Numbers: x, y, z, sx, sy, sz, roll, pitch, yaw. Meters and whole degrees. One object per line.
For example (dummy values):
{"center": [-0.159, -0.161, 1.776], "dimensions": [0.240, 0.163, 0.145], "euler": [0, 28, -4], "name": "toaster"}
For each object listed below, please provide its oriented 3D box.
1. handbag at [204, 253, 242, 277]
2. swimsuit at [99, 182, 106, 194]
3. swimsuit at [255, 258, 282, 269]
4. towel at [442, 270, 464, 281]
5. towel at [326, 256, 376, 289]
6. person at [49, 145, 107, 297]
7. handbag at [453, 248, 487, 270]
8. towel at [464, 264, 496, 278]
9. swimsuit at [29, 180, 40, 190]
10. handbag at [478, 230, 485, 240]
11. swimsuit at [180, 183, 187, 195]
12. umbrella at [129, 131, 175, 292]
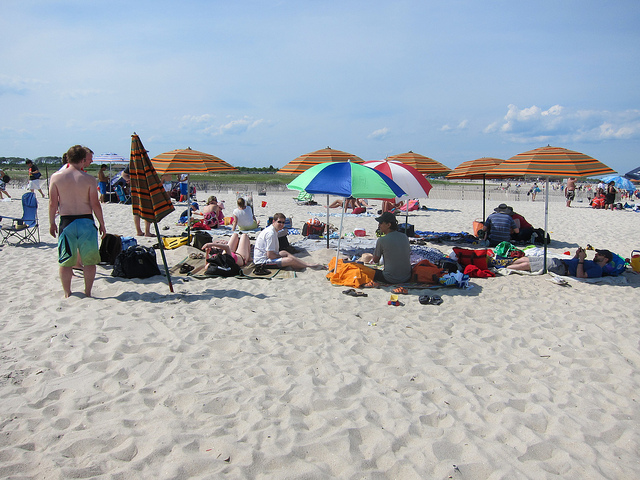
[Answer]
{"center": [-1.618, 0.442, 8.866], "dimensions": [0.388, 0.207, 0.491], "euler": [37, 25, 26], "name": "handbag"}
{"center": [-7.394, -1.772, 17.954], "dimensions": [0.189, 0.382, 0.347], "euler": [-3, 8, -21], "name": "swimsuit"}
{"center": [-0.868, 0.399, 9.205], "dimensions": [0.363, 0.119, 0.192], "euler": [-4, 5, 2], "name": "swimsuit"}
{"center": [2.210, 0.595, 8.765], "dimensions": [0.228, 0.086, 0.159], "euler": [-2, 6, -12], "name": "towel"}
{"center": [0.455, 0.500, 8.859], "dimensions": [0.958, 0.246, 0.737], "euler": [25, 30, 39], "name": "towel"}
{"center": [-3.421, -0.258, 7.455], "dimensions": [0.708, 2.113, 0.639], "euler": [-4, 8, -27], "name": "person"}
{"center": [2.745, 0.343, 9.613], "dimensions": [0.598, 0.328, 0.378], "euler": [2, 8, 15], "name": "handbag"}
{"center": [2.816, 0.575, 9.340], "dimensions": [0.365, 0.131, 0.282], "euler": [5, 4, 7], "name": "towel"}
{"center": [-9.925, -1.929, 18.303], "dimensions": [0.299, 0.321, 1.287], "euler": [-4, 8, -28], "name": "swimsuit"}
{"center": [3.618, -0.124, 11.793], "dimensions": [0.176, 0.252, 0.141], "euler": [0, 0, 33], "name": "handbag"}
{"center": [-4.963, -1.859, 19.150], "dimensions": [0.095, 0.308, 0.324], "euler": [5, 2, 16], "name": "swimsuit"}
{"center": [-2.494, -0.856, 7.754], "dimensions": [0.557, 1.346, 0.386], "euler": [-2, 8, -19], "name": "umbrella"}
